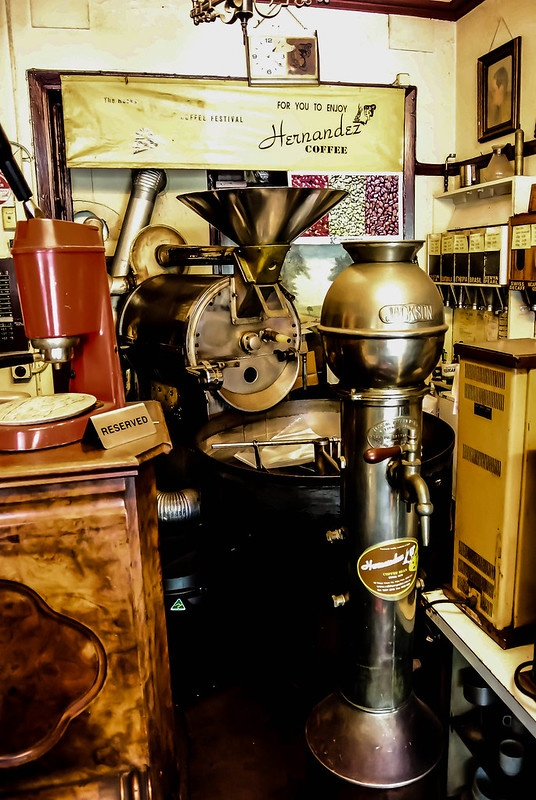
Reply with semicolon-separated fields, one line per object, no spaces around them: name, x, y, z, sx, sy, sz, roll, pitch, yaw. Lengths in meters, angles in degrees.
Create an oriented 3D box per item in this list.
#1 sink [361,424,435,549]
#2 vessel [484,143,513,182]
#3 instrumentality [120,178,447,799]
sink;0.270;0.174;1.265;0.147;0.163;0.316;-1;11;-3
vessel;1.538;-1.574;3.726;0.212;0.249;0.211;-4;11;-6
instrumentality;-0.031;0.095;1.830;1.406;1.725;0.589;10;15;43
